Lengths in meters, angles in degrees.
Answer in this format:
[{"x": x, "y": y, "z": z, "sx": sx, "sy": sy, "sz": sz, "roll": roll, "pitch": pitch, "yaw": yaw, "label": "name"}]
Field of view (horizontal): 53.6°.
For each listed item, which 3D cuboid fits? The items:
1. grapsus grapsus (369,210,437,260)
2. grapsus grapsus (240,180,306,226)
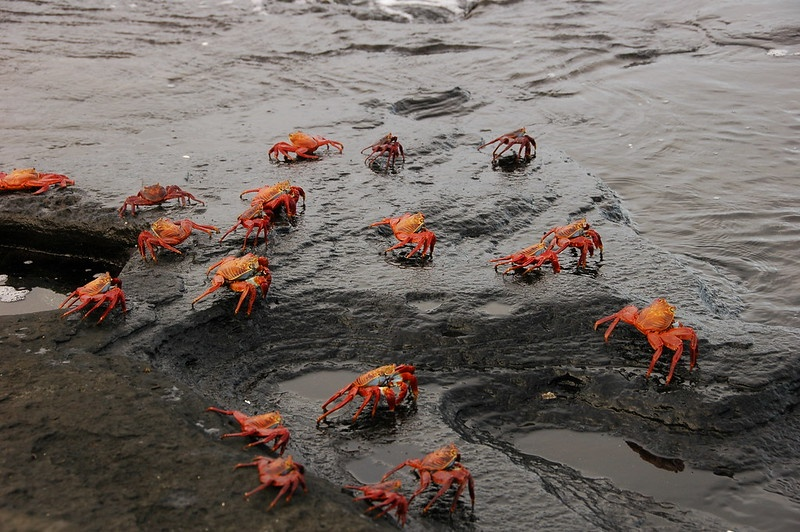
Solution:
[{"x": 0.136, "y": -0.312, "z": 10.558, "sx": 0.787, "sy": 0.375, "sz": 0.826, "roll": -15, "pitch": 32, "yaw": -9, "label": "grapsus grapsus"}, {"x": -1.650, "y": -0.925, "z": 10.850, "sx": 0.881, "sy": 0.293, "sz": 0.806, "roll": 6, "pitch": 14, "yaw": -22, "label": "grapsus grapsus"}]
